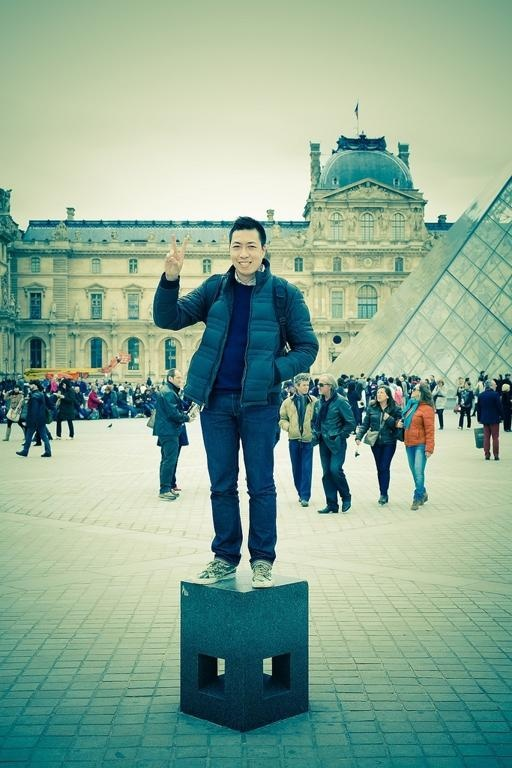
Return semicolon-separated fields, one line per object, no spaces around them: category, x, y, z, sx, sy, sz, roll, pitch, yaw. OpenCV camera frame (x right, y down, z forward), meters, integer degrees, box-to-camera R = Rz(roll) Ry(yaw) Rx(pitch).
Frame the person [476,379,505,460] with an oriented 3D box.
person;4.287;0.658;14.381;0.437;1.412;1.209;1;1;16

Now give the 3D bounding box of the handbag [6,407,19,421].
handbag;-5.648;0.704;18.159;0.279;0.308;0.669;0;1;-20

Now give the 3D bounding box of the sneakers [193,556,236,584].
sneakers;-0.160;0.755;3.108;0.059;0.073;0.175;-10;-15;32

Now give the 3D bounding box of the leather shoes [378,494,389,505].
leather shoes;1.485;1.345;9.080;0.102;0.119;0.306;-4;-7;11

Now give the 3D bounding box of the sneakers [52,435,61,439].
sneakers;-5.156;1.385;20.165;0.211;0.097;0.482;0;1;-15

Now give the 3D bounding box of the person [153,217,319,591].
person;-0.090;0.062;3.242;0.687;1.502;0.596;0;1;4

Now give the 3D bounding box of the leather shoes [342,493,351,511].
leather shoes;1.016;1.343;8.751;0.071;0.212;0.089;-16;-48;44

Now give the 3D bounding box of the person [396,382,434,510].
person;1.822;0.684;8.911;0.390;1.386;0.718;0;1;11

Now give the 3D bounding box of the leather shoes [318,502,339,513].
leather shoes;0.794;1.369;8.599;0.221;0.097;0.296;0;1;7

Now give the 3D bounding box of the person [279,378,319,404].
person;1.143;0.204;21.296;0.955;0.507;1.249;-1;1;0

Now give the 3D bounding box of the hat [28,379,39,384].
hat;-5.990;-0.090;20.944;0.288;0.134;0.340;-2;2;-25

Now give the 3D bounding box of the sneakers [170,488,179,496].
sneakers;-1.036;1.367;9.840;0.102;0.119;0.298;1;-5;-10

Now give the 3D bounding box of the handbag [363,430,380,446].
handbag;1.345;0.618;9.051;0.141;0.157;0.086;20;-4;16
